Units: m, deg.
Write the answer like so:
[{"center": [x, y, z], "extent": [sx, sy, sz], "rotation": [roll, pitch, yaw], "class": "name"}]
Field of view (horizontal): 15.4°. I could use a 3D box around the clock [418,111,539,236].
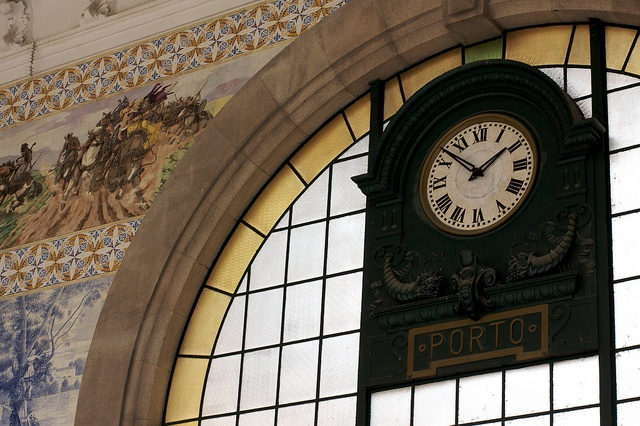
[{"center": [1.942, -0.454, 28.021], "extent": [1.851, 1.566, 0.118], "rotation": [-2, -26, 30], "class": "clock"}]
